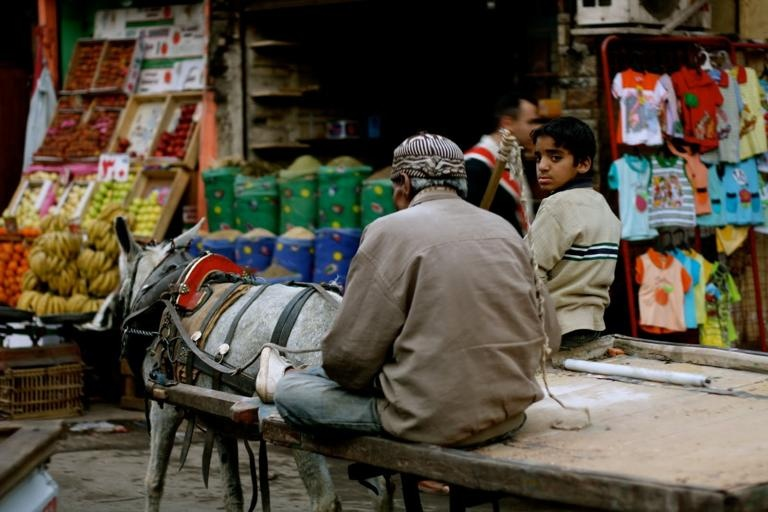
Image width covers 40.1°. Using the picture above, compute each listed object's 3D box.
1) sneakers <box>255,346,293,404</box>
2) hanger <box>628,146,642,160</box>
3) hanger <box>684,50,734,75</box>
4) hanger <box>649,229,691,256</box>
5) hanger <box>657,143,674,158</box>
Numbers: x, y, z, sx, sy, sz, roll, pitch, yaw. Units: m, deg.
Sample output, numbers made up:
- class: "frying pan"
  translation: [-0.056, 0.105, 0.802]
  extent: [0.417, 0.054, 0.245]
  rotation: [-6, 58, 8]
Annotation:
- class: "sneakers"
  translation: [-0.774, 0.826, 7.518]
  extent: [0.175, 0.183, 0.458]
  rotation: [-3, 33, 8]
- class: "hanger"
  translation: [2.600, -1.075, 10.832]
  extent: [0.121, 0.118, 0.165]
  rotation: [2, 1, 12]
- class: "hanger"
  translation: [3.455, -2.058, 11.059]
  extent: [0.522, 0.254, 0.155]
  rotation: [1, 1, -23]
- class: "hanger"
  translation: [3.065, -0.167, 11.060]
  extent: [0.454, 0.280, 0.240]
  rotation: [2, 1, 0]
- class: "hanger"
  translation: [2.909, -1.089, 10.870]
  extent: [0.195, 0.148, 0.113]
  rotation: [1, 1, -19]
